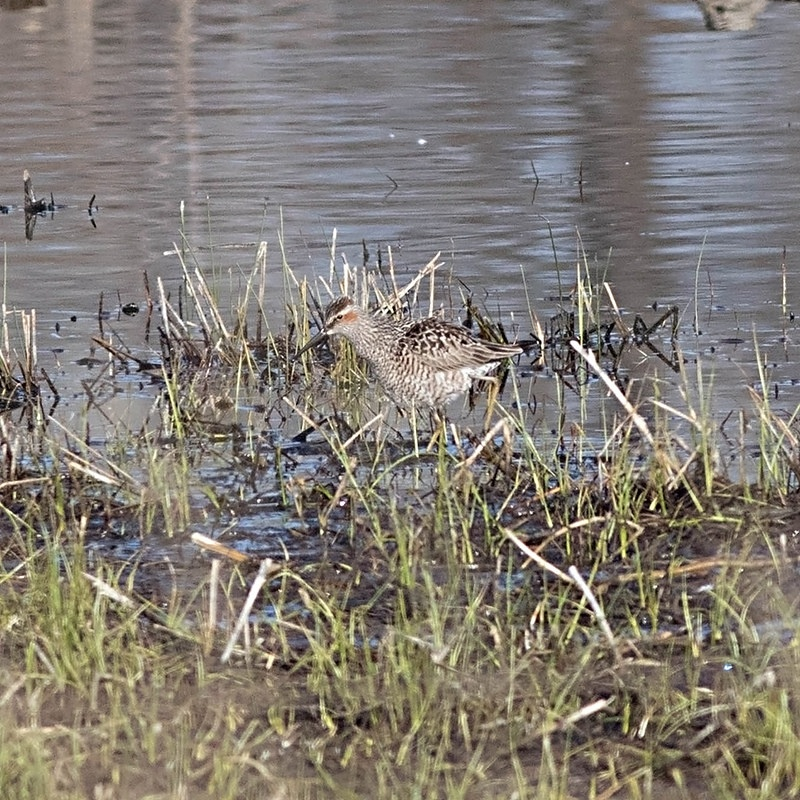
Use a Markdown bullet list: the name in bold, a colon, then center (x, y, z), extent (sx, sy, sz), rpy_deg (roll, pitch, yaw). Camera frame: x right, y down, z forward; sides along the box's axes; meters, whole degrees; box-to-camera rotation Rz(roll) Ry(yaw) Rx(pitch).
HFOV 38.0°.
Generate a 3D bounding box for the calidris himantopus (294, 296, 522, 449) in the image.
- **calidris himantopus**: center (0.166, -0.279, 7.005), extent (1.267, 0.928, 0.466), rpy_deg (-11, 13, -11)
